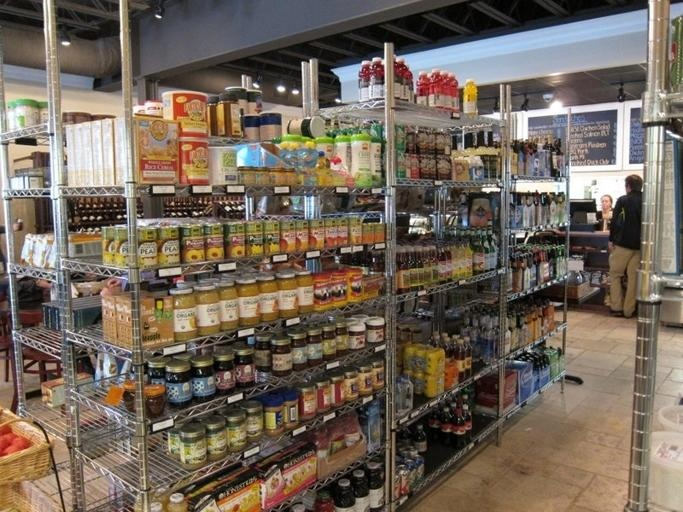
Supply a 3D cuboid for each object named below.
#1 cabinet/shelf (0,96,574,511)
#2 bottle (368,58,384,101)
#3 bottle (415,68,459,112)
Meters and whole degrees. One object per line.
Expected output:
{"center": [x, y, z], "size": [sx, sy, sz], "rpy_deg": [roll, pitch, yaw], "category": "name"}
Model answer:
{"center": [-0.234, 0.368, 3.694], "size": [4.021, 2.188, 1.222], "rpy_deg": [-5, 10, -44], "category": "cabinet/shelf"}
{"center": [0.240, -1.191, 3.761], "size": [0.098, 0.284, 0.139], "rpy_deg": [-1, 11, 13], "category": "bottle"}
{"center": [0.731, -1.246, 4.205], "size": [0.365, 0.282, 0.369], "rpy_deg": [-1, 9, 0], "category": "bottle"}
